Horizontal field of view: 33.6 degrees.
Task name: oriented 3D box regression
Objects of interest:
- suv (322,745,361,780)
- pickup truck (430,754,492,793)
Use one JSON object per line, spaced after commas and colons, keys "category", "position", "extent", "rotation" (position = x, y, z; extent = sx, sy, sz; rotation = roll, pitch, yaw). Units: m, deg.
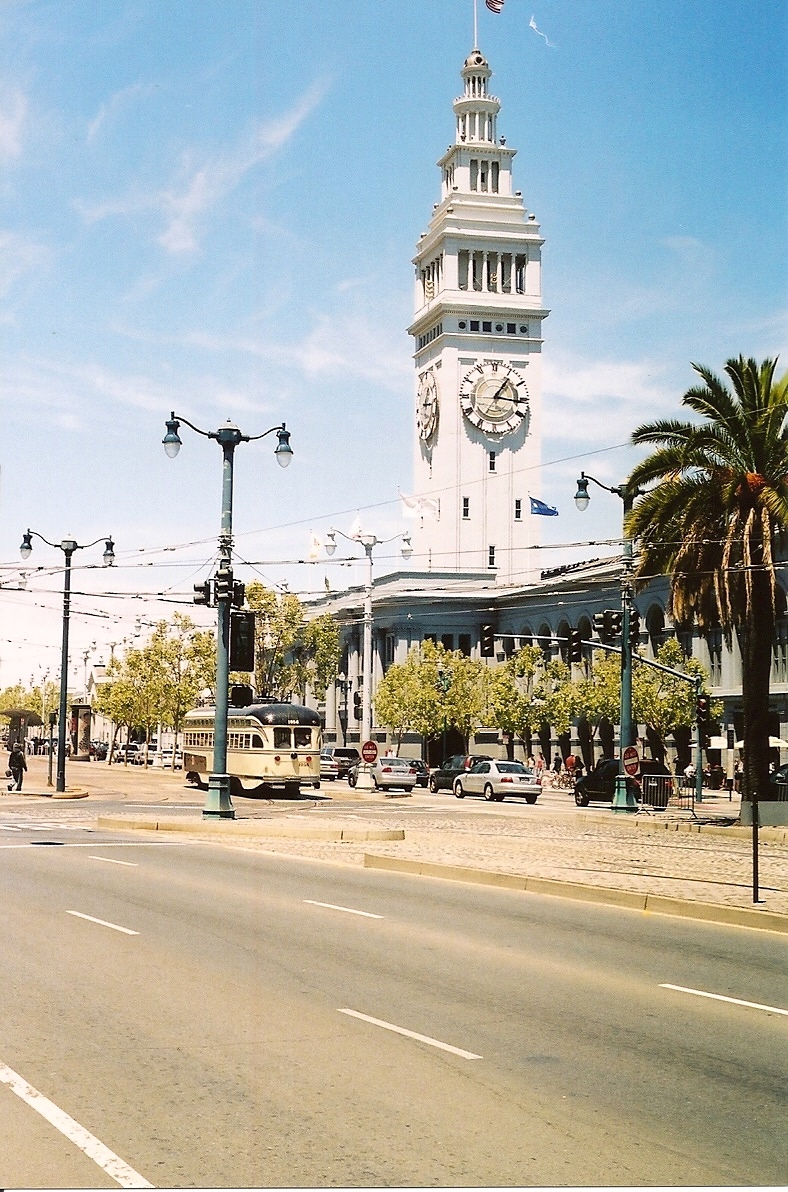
{"category": "suv", "position": [-3.045, 8.965, 68.846], "extent": [1.420, 1.415, 3.325], "rotation": [0, 0, -3]}
{"category": "pickup truck", "position": [2.796, 7.707, 57.055], "extent": [1.371, 1.439, 2.780], "rotation": [2, -2, -17]}
